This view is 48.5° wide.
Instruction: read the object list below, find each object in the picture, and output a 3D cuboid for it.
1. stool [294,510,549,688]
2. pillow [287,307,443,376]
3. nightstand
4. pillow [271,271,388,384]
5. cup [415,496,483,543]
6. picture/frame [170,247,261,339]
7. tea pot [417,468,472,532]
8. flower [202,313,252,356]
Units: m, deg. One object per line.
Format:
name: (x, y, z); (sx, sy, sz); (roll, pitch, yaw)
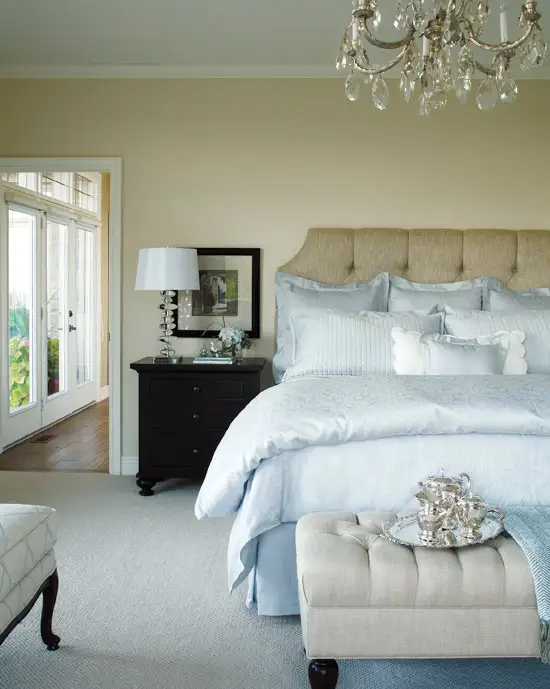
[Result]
stool: (0.360, 0.647, 1.540); (0.613, 0.300, 0.414); (0, -4, -3)
pillow: (0.409, 0.051, 3.560); (0.678, 0.399, 0.189); (1, -18, 5)
nightstand: (-0.439, 0.526, 3.941); (0.880, 0.828, 0.544); (0, -1, 7)
pillow: (0.256, -0.167, 3.616); (0.739, 0.697, 0.212); (-1, -16, -4)
cup: (0.498, 0.471, 1.706); (0.196, 0.101, 0.092); (-3, 8, -31)
picture/frame: (-0.382, -0.370, 4.071); (0.656, 0.643, 0.046); (1, 3, 4)
tea pot: (0.490, 0.447, 1.764); (0.176, 0.168, 0.135); (-5, 2, -9)
flower: (-0.331, -0.043, 3.950); (0.256, 0.165, 0.214); (1, 7, 5)
